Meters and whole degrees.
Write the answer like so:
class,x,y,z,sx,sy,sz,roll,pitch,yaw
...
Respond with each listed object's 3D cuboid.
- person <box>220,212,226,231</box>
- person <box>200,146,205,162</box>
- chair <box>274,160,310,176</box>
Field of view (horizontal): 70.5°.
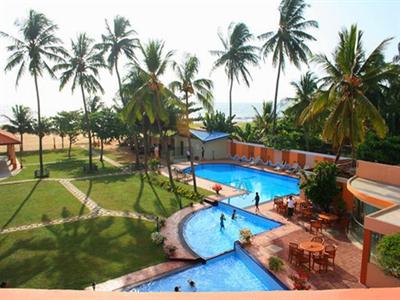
class,x,y,z,sx,sy,sz,roll,pitch,yaw
person,1.627,5.017,20.769,0.334,1.153,1.194,2,13,4
person,0.390,0.483,38.986,0.462,1.872,0.704,1,12,-1
chair,10.257,1.948,33.031,3.322,1.176,2.169,14,18,41
